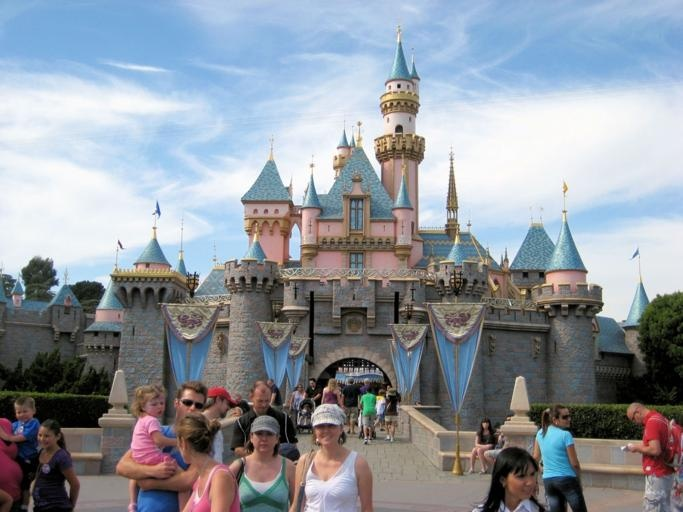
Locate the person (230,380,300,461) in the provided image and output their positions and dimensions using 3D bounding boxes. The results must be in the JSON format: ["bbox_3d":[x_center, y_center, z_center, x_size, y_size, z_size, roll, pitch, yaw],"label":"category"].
[{"bbox_3d":[-1.187,2.525,14.707,0.958,1.182,0.752,-1,5,4],"label":"person"}]

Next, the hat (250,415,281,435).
[{"bbox_3d":[-1.039,2.288,13.215,0.393,0.217,0.544,1,-16,0],"label":"hat"}]

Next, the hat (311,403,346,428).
[{"bbox_3d":[-0.176,2.150,13.202,0.427,0.302,0.272,-2,-6,3],"label":"hat"}]

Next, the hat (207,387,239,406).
[{"bbox_3d":[-1.816,2.069,14.689,0.472,0.274,0.300,11,-8,-25],"label":"hat"}]

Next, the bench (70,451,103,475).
[{"bbox_3d":[-5.508,4.442,21.118,0.505,0.505,0.307,2,-29,-31],"label":"bench"}]

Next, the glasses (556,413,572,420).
[{"bbox_3d":[3.521,2.526,15.381,0.169,0.130,0.125,-7,-3,18],"label":"glasses"}]

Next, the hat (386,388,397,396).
[{"bbox_3d":[1.428,3.779,27.368,0.236,0.106,0.293,1,-11,15],"label":"hat"}]
